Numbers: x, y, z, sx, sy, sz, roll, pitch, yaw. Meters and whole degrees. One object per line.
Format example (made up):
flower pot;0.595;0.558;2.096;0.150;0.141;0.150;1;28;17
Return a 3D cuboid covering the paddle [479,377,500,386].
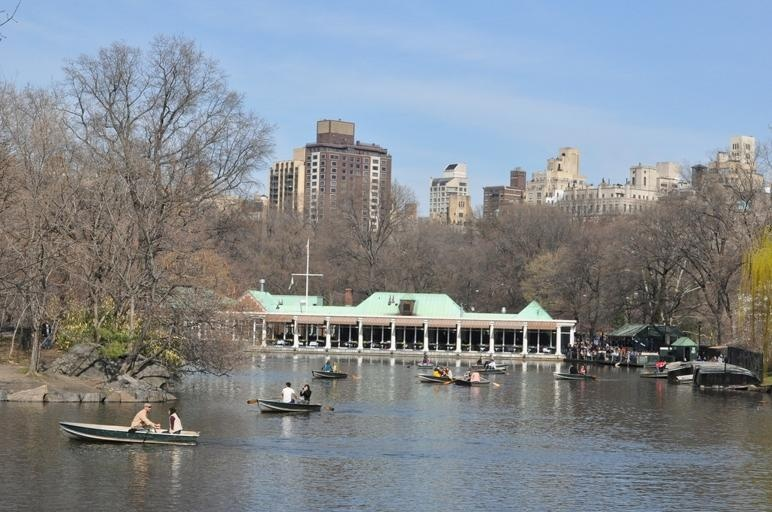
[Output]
paddle;9.046;11.045;133.703;1.954;0.355;0.599;8;-2;1

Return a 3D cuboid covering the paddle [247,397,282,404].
paddle;-9.158;10.969;115.854;3.107;0.354;0.441;1;6;23

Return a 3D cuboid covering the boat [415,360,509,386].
boat;6.636;10.653;138.052;9.064;2.598;4.044;0;-9;-6
